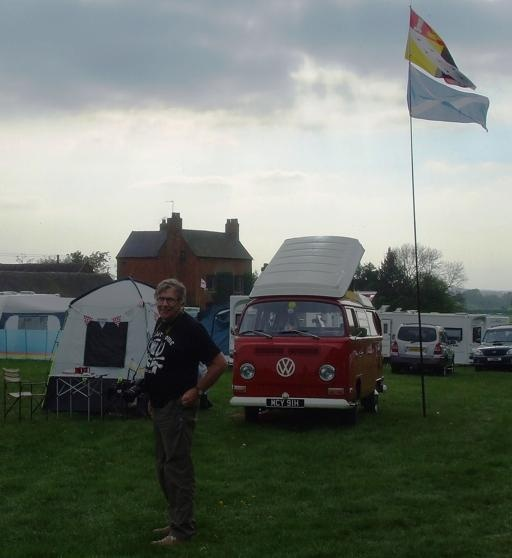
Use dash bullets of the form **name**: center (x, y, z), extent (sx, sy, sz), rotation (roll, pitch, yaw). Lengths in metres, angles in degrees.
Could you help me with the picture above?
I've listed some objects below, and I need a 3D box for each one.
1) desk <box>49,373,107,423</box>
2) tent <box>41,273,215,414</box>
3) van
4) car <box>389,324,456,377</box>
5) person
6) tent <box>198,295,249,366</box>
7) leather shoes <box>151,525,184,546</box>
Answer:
- **desk**: center (-3.222, 2.010, 14.859), extent (1.097, 0.733, 1.172), rotation (2, -5, 1)
- **tent**: center (-2.316, 1.149, 15.228), extent (2.124, 2.403, 2.307), rotation (0, -1, 19)
- **van**: center (0.802, 0.724, 13.706), extent (1.963, 3.049, 2.439), rotation (-2, -4, 17)
- **car**: center (5.297, 2.262, 27.018), extent (1.929, 1.635, 2.484), rotation (-2, -4, 11)
- **person**: center (-0.644, 1.131, 7.419), extent (0.741, 2.298, 0.418), rotation (-2, -4, 8)
- **tent**: center (-0.965, 1.440, 26.196), extent (1.387, 1.159, 2.235), rotation (0, -2, 13)
- **leather shoes**: center (-0.800, 2.238, 7.360), extent (0.269, 0.101, 0.480), rotation (0, -5, -21)
